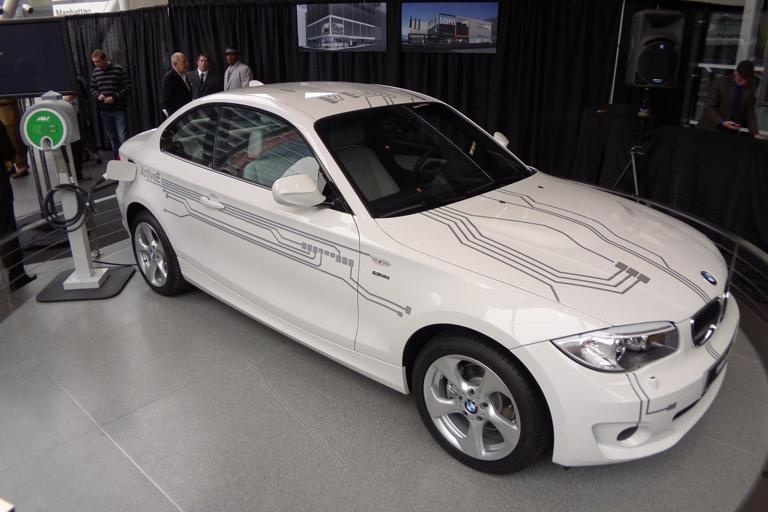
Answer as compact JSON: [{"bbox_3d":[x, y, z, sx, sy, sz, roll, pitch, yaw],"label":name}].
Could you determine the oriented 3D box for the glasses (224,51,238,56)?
[{"bbox_3d":[-2.712,-3.624,8.162,0.104,0.032,0.106,-1,8,5],"label":"glasses"}]

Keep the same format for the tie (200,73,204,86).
[{"bbox_3d":[-3.385,-3.326,8.549,0.046,0.215,0.057,-1,-18,-12],"label":"tie"}]

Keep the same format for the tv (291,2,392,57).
[{"bbox_3d":[-0.756,-4.385,8.730,1.599,0.804,0.367,2,22,2],"label":"tv"}]

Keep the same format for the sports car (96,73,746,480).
[{"bbox_3d":[-0.234,-0.112,4.093,5.306,1.875,2.312,19,34,33],"label":"sports car"}]
